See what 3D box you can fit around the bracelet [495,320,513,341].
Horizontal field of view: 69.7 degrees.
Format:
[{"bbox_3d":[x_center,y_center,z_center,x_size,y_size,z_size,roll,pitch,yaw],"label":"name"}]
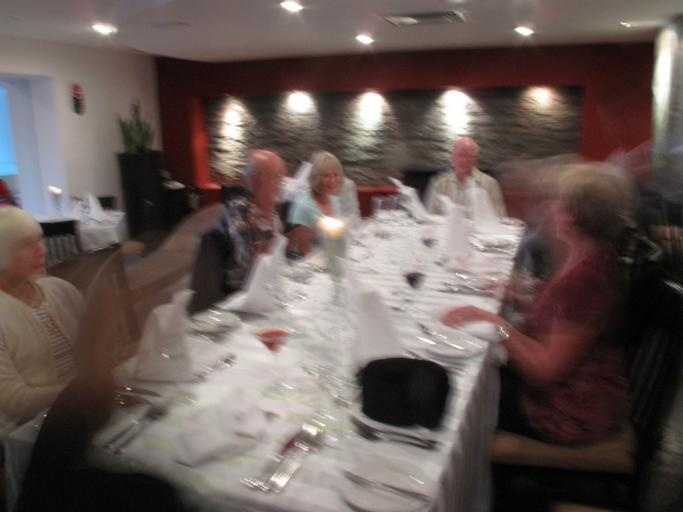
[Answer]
[{"bbox_3d":[0.265,0.124,0.803,0.026,0.007,0.027,4,25,7],"label":"bracelet"}]
